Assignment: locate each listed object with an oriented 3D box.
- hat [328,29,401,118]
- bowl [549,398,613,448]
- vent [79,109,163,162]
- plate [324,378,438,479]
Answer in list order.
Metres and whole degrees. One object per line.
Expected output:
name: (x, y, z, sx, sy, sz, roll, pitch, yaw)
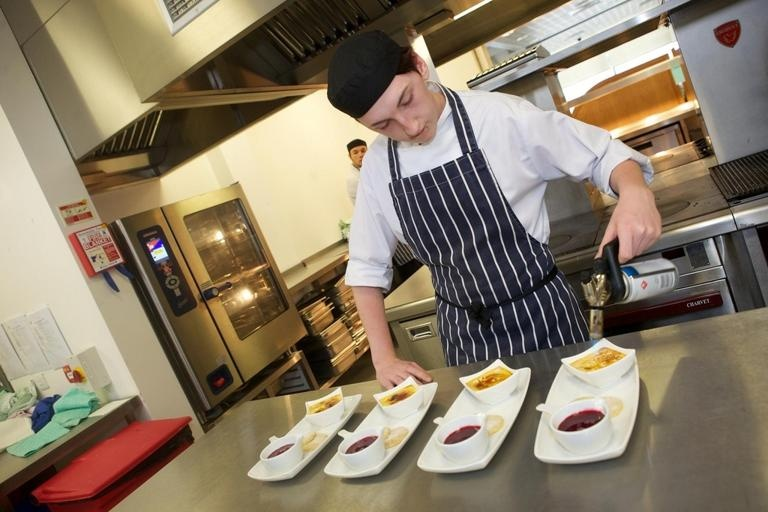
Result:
hat: (-0.048, -0.579, 1.490, 0.218, 0.295, 0.155, -26, -35, 37)
bowl: (0.470, 0.404, 1.081, 0.138, 0.065, 0.112, -19, 9, 11)
vent: (-1.605, -0.787, 3.050, 0.638, 0.064, 0.494, -17, 9, 23)
plate: (-0.020, 0.462, 1.327, 0.178, 0.063, 0.314, -28, 8, 35)
